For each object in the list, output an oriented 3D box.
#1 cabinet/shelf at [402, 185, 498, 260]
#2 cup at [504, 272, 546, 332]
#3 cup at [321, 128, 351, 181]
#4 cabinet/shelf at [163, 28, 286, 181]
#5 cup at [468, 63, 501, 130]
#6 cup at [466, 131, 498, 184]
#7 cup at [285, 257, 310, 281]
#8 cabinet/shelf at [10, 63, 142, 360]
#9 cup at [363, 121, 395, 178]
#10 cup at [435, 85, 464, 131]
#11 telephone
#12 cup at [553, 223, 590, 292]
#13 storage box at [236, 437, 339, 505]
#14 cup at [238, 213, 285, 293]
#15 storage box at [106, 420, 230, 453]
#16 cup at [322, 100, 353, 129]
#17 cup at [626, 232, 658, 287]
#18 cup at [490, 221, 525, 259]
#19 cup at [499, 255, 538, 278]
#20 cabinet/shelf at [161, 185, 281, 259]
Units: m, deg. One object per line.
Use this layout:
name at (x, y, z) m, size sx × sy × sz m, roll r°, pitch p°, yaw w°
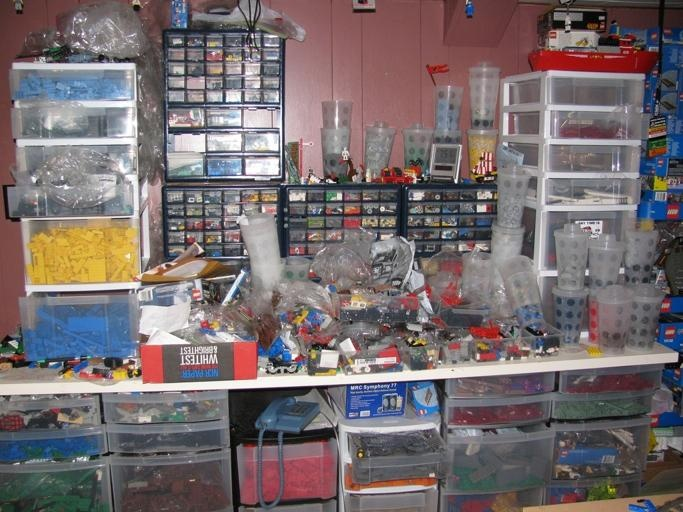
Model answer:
cabinet/shelf at (0.646, -0.169, 3.647) m, size 0.548 × 0.388 × 0.307 m, roll 1°, pitch -4°, yaw 13°
cup at (0.913, 0.221, 3.101) m, size 0.166 × 0.266 × 0.285 m, roll -2°, pitch 5°, yaw -3°
cup at (0.017, -0.628, 3.797) m, size 0.220 × 0.342 × 0.217 m, roll 3°, pitch 9°, yaw -1°
cabinet/shelf at (-0.668, -0.871, 3.556) m, size 0.830 × 1.027 × 0.319 m, roll -1°, pitch 5°, yaw -7°
cup at (0.837, -0.923, 3.707) m, size 0.166 × 0.361 × 0.119 m, roll -1°, pitch 5°, yaw 12°
cup at (0.818, -0.591, 3.667) m, size 0.162 × 0.300 × 0.261 m, roll -1°, pitch 5°, yaw 11°
cup at (-0.222, 0.073, 3.252) m, size 0.112 × 0.084 × 0.106 m, roll -1°, pitch 6°, yaw 0°
cabinet/shelf at (-1.259, -0.234, 2.999) m, size 0.614 × 1.435 × 0.518 m, roll -3°, pitch 5°, yaw -19°
cup at (0.240, -0.638, 3.776) m, size 0.184 × 0.312 × 0.185 m, roll 3°, pitch 12°, yaw -1°
cup at (0.637, -0.888, 3.770) m, size 0.155 × 0.280 × 0.100 m, roll -1°, pitch 4°, yaw 7°
telephone at (-0.269, 0.879, 2.869) m, size 0.276 × 0.479 × 0.165 m, roll 3°, pitch -13°, yaw -15°
cup at (1.134, -0.047, 3.104) m, size 0.166 × 0.285 × 0.173 m, roll -8°, pitch 28°, yaw 4°
storage box at (-0.211, 1.008, 2.758) m, size 0.424 × 0.265 × 0.308 m, roll -1°, pitch -2°, yaw -9°
cup at (-0.390, -0.018, 3.066) m, size 0.190 × 0.365 × 0.122 m, roll -2°, pitch 4°, yaw -4°
storage box at (-0.779, 0.827, 2.873) m, size 0.265 × 0.071 × 0.258 m, roll -1°, pitch 2°, yaw 10°
cup at (-0.027, -0.832, 3.711) m, size 0.176 × 0.132 × 0.158 m, roll -1°, pitch 5°, yaw -3°
cup at (1.447, 0.008, 3.066) m, size 0.137 × 0.265 × 0.092 m, roll 0°, pitch 5°, yaw 15°
cup at (0.881, -0.093, 3.415) m, size 0.180 × 0.194 × 0.183 m, roll 2°, pitch 10°, yaw 0°
cup at (0.912, 0.051, 3.262) m, size 0.125 × 0.127 × 0.094 m, roll 9°, pitch 12°, yaw 7°
cabinet/shelf at (-0.662, -0.202, 3.695) m, size 0.638 × 0.417 × 0.367 m, roll -2°, pitch 14°, yaw -9°
